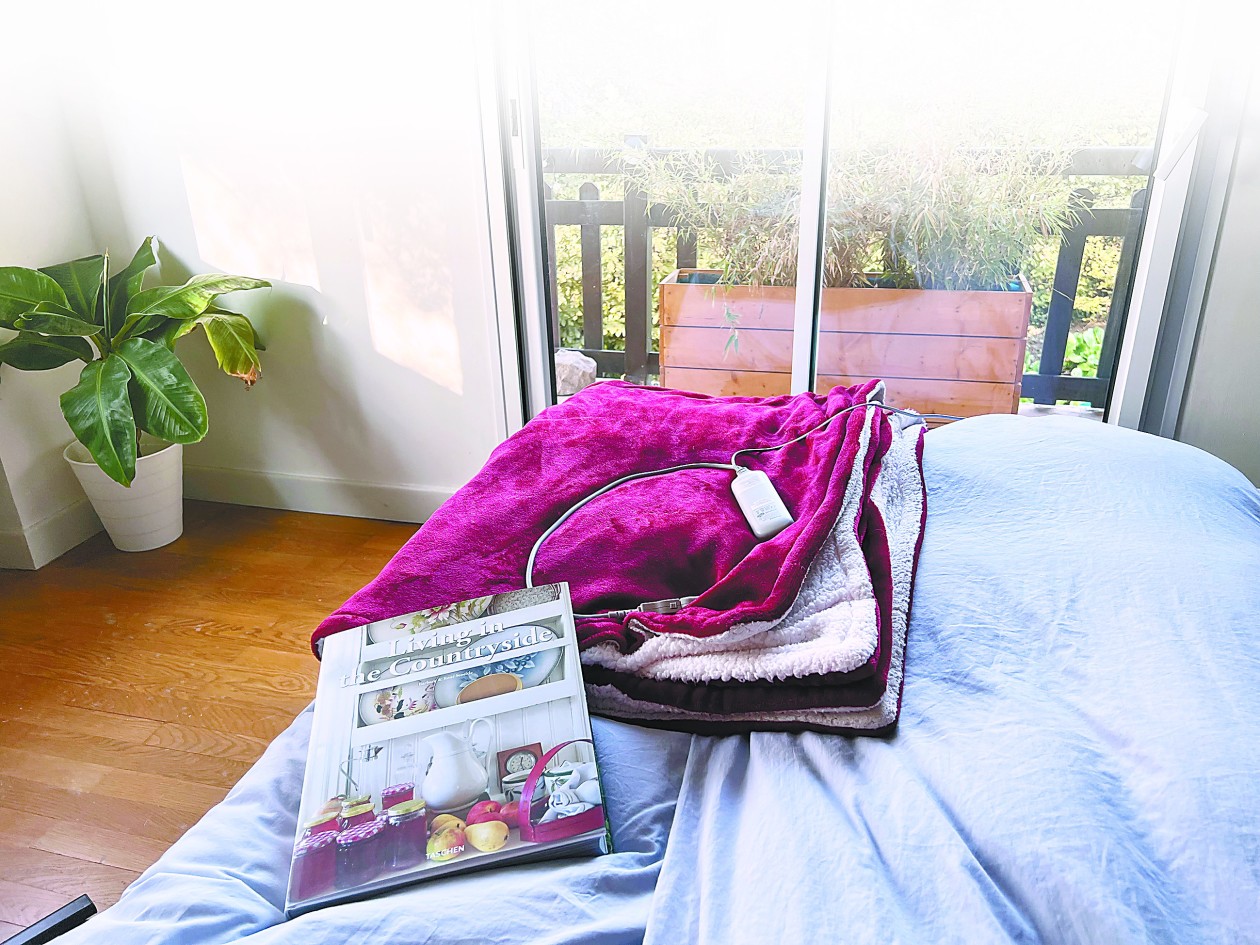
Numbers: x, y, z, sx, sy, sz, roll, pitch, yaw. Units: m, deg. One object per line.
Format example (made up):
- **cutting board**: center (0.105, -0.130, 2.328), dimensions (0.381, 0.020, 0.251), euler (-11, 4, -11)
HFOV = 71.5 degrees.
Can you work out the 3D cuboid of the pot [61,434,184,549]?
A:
- **pot**: center (-1.495, 0.010, 2.714), dimensions (0.334, 0.310, 0.348), euler (2, 29, -1)
